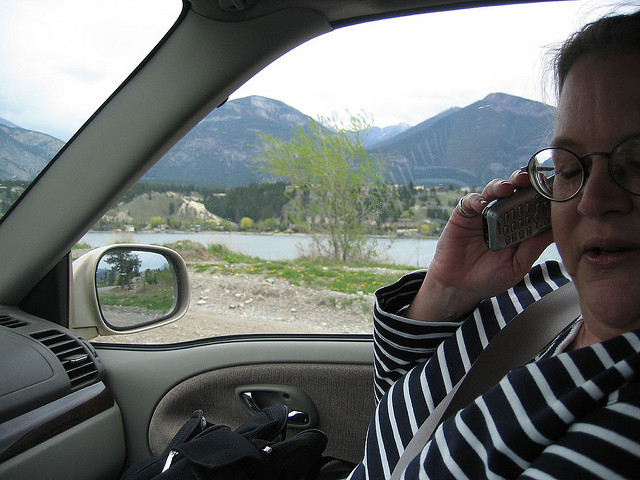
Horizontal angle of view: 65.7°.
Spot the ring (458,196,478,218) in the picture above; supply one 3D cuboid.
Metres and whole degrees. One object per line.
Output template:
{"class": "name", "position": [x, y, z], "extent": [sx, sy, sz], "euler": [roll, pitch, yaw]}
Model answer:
{"class": "ring", "position": [0.521, -0.112, 1.750], "extent": [0.059, 0.060, 0.021], "euler": [35, 27, 23]}
